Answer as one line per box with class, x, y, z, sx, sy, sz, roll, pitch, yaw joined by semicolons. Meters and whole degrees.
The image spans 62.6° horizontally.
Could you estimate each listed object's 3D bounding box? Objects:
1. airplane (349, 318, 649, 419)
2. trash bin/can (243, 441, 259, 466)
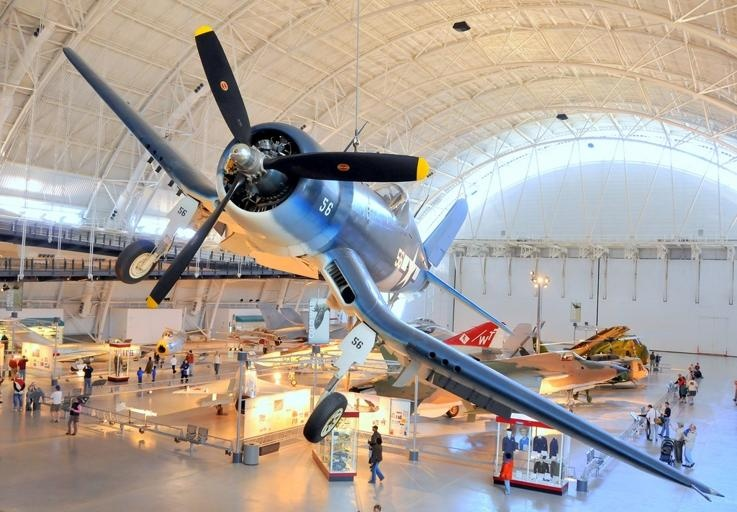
airplane;5.415;4.572;24.053;6.479;2.315;5.856;3;0;-31
trash bin/can;-3.964;6.768;20.768;0.642;0.650;0.622;0;1;9
